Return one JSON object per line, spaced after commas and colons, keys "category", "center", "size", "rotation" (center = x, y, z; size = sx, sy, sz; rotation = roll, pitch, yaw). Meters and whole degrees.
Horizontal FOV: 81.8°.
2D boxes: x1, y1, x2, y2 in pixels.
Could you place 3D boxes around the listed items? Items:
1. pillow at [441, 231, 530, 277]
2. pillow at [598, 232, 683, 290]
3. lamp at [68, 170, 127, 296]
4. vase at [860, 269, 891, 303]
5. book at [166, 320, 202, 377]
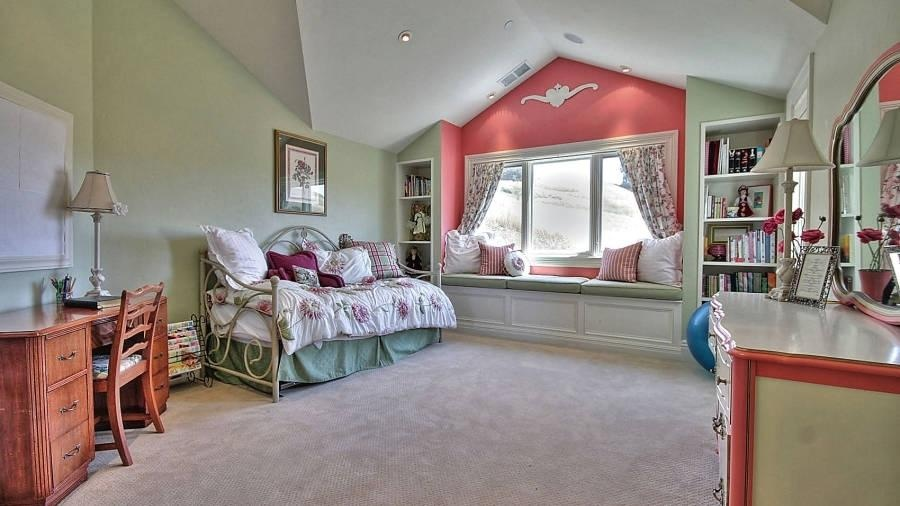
{"category": "pillow", "center": [0.387, 0.031, 6.941], "size": [0.804, 0.672, 0.257], "rotation": [11, -15, 21]}
{"category": "pillow", "center": [2.294, 0.109, 6.153], "size": [0.711, 0.426, 0.249], "rotation": [-2, -10, 42]}
{"category": "lamp", "center": [-3.015, -0.179, 4.510], "size": [0.374, 1.079, 0.449], "rotation": [1, 4, 9]}
{"category": "vase", "center": [2.856, 0.199, 3.488], "size": [0.173, 0.179, 0.171], "rotation": [3, -5, 32]}
{"category": "book", "center": [-2.600, 0.904, 5.061], "size": [0.271, 0.445, 0.402], "rotation": [-1, 4, -26]}
